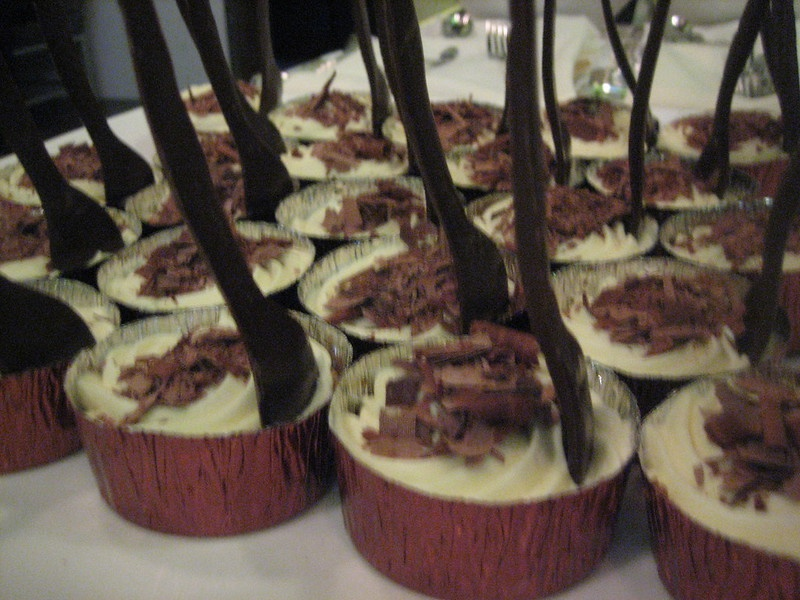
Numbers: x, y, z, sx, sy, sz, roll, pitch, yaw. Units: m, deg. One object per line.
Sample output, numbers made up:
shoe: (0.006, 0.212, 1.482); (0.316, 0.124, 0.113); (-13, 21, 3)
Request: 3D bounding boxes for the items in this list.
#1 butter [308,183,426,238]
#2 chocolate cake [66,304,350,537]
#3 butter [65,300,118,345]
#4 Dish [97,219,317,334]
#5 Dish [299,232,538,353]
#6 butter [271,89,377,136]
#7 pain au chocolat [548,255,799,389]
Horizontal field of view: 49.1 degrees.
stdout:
butter: (-0.060, -0.191, 1.834); (0.177, 0.052, 0.121); (-27, 39, -6)
chocolate cake: (-0.337, 0.195, 1.353); (0.319, 0.170, 0.353); (-14, 28, -26)
butter: (-0.525, 0.037, 1.494); (0.066, 0.020, 0.071); (23, 29, -24)
Dish: (-0.467, -0.060, 1.836); (0.370, 0.101, 0.503); (-22, 1, -32)
Dish: (-0.031, -0.015, 1.568); (0.264, 0.054, 0.231); (12, 44, 26)
butter: (-0.194, -0.474, 2.260); (0.162, 0.058, 0.187); (-8, 33, -1)
pain au chocolat: (0.419, 0.035, 1.474); (0.228, 0.047, 0.224); (3, 45, 23)
